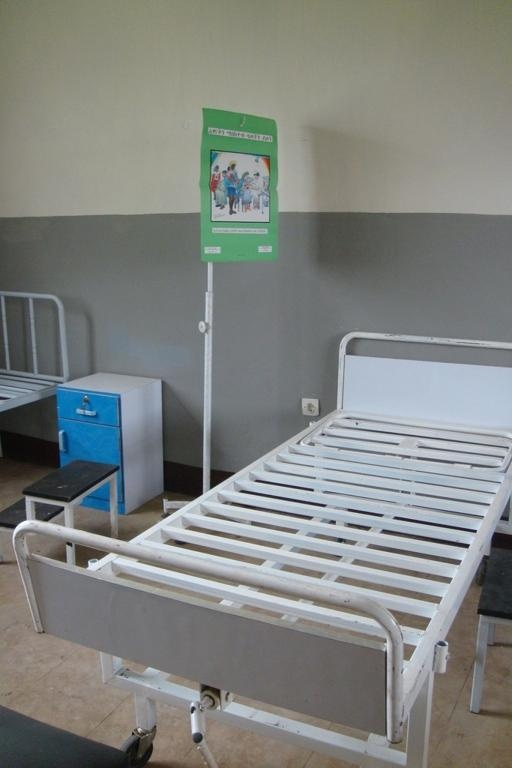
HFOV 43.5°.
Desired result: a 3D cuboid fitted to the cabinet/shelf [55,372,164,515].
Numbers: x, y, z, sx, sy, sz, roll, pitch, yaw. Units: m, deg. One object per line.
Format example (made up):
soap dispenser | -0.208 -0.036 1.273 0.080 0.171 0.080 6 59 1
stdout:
cabinet/shelf | -0.776 0.323 3.466 0.462 0.640 0.458 8 13 31
